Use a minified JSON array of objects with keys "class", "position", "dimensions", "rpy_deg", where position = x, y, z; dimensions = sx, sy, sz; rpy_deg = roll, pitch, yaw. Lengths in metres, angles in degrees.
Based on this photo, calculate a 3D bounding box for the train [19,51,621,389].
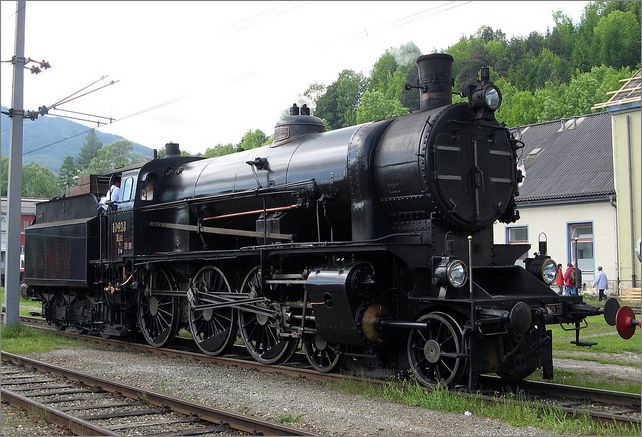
[{"class":"train","position":[-3.048,0.370,17.282],"dimensions":[6.035,7.568,19.836],"rpy_deg":[1,-3,-39]}]
